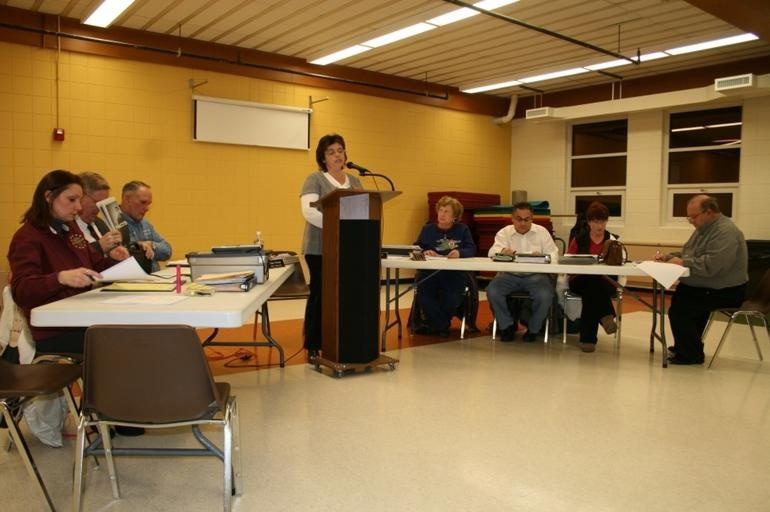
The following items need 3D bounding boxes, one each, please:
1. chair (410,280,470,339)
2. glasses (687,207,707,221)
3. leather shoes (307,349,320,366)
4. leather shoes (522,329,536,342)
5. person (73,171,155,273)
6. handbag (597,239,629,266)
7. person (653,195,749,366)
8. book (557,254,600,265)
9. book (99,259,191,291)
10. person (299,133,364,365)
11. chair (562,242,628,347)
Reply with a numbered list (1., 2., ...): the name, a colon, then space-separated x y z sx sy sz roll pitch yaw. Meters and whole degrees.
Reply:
1. chair: 0.649 0.428 6.744 0.619 0.740 0.501 5 9 5
2. glasses: 2.980 -0.408 5.841 0.089 0.107 0.126 -6 -11 39
3. leather shoes: -0.652 0.916 5.523 0.143 0.136 0.142 1 -2 -18
4. leather shoes: 1.537 0.851 6.488 0.121 0.121 0.300 -1 -7 18
5. person: -2.179 -0.313 4.648 0.268 0.843 0.650 -14 2 18
6. handbag: 2.156 -0.038 5.671 0.264 0.230 0.222 -5 7 -1
7. person: 2.975 0.221 5.728 0.675 1.536 0.557 -6 14 -27
8. book: 1.794 0.024 5.621 0.382 0.074 0.146 0 12 -2
9. book: -1.604 0.153 3.993 0.345 0.130 0.469 0 -2 -3
10. person: -0.543 -0.043 5.504 0.487 2.077 0.683 2 13 5
11. chair: 2.090 0.322 6.018 0.477 1.145 0.654 3 -18 12
